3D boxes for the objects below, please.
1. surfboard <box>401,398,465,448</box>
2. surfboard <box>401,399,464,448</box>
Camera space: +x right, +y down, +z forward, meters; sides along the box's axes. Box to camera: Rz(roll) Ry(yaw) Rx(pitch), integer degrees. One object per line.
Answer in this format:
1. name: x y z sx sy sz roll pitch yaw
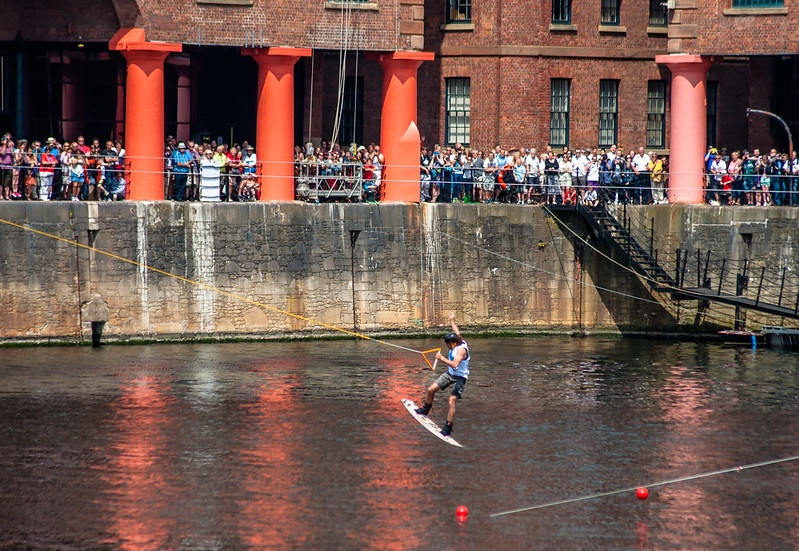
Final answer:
1. surfboard: 0.743 4.272 41.172 0.675 0.306 2.975 -3 30 -37
2. surfboard: 0.730 4.430 41.191 0.664 0.292 3.138 -7 32 -37
